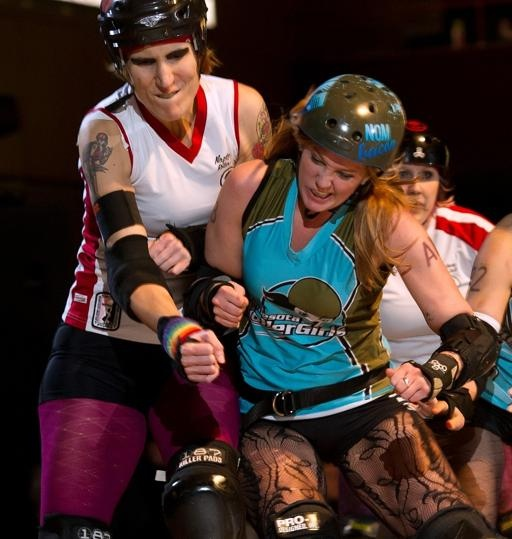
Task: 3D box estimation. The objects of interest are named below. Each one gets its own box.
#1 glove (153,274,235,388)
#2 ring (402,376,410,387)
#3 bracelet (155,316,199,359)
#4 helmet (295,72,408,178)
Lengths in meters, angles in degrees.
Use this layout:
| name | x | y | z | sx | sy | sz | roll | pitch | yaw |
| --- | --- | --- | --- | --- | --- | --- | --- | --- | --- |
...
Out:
| name | x | y | z | sx | sy | sz | roll | pitch | yaw |
| --- | --- | --- | --- | --- | --- | --- | --- | --- | --- |
| glove | -0.151 | 0.147 | 1.303 | 0.139 | 0.090 | 0.227 | -23 | 25 | 2 |
| ring | 0.356 | 0.266 | 1.344 | 0.014 | 0.016 | 0.015 | -1 | 31 | 0 |
| bracelet | -0.186 | 0.136 | 1.315 | 0.073 | 0.063 | 0.071 | -10 | 10 | -37 |
| helmet | 0.243 | -0.417 | 1.541 | 0.308 | 0.180 | 0.301 | 19 | 44 | -4 |
